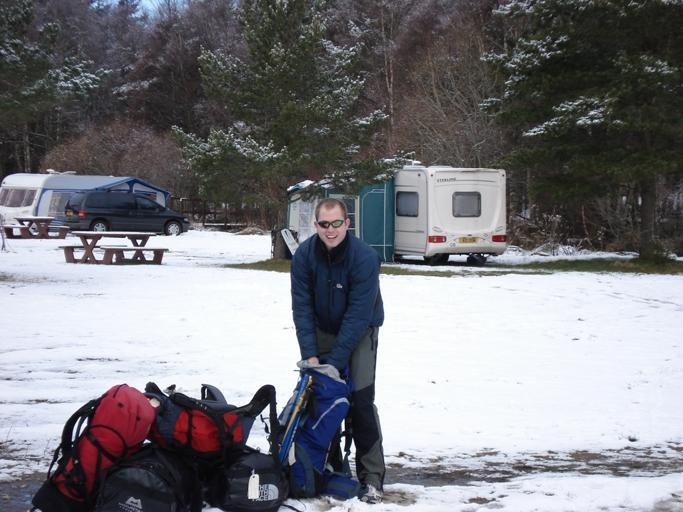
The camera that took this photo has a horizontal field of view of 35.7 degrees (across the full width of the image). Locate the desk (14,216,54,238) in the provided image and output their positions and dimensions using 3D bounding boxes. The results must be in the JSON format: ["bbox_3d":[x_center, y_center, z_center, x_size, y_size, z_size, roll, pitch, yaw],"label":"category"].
[{"bbox_3d":[-11.348,-1.096,39.318,1.138,0.589,1.163,-1,3,-16],"label":"desk"}]

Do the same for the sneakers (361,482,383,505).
[{"bbox_3d":[0.422,3.426,15.368,0.205,0.273,0.283,11,8,-16],"label":"sneakers"}]

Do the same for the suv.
[{"bbox_3d":[-8.233,-1.588,41.164,1.949,1.622,4.661,4,5,43],"label":"suv"}]
